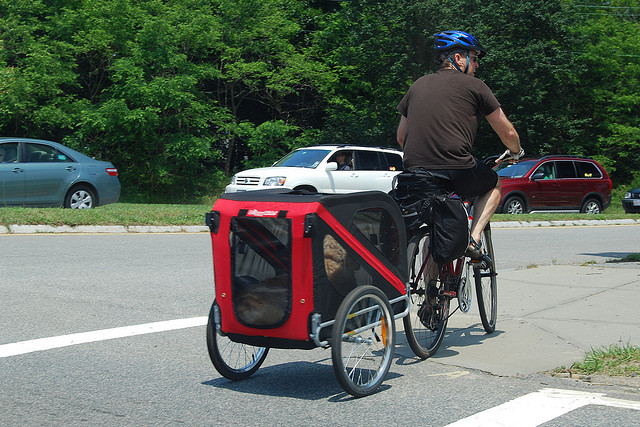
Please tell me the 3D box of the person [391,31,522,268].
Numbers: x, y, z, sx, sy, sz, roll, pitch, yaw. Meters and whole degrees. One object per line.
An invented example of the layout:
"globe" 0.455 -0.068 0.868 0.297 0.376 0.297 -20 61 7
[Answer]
"person" 1.432 -0.600 6.678 1.216 2.626 0.740 -1 13 0

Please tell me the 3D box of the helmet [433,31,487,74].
"helmet" 1.398 -1.727 6.750 0.629 0.425 0.443 -2 2 2

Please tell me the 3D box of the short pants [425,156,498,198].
"short pants" 1.474 -0.351 6.491 0.827 0.424 0.182 -6 13 -26

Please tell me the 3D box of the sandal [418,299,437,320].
"sandal" 1.102 1.015 6.622 0.253 0.197 0.059 -8 14 -33

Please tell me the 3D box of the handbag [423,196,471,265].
"handbag" 1.262 0.171 6.404 0.456 0.705 0.164 1 13 8

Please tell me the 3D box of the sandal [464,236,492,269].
"sandal" 1.744 0.425 6.824 0.205 0.215 0.597 -7 -20 41

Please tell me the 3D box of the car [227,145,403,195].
"car" -0.025 -1.189 17.866 4.144 1.312 2.226 3 -4 -40
